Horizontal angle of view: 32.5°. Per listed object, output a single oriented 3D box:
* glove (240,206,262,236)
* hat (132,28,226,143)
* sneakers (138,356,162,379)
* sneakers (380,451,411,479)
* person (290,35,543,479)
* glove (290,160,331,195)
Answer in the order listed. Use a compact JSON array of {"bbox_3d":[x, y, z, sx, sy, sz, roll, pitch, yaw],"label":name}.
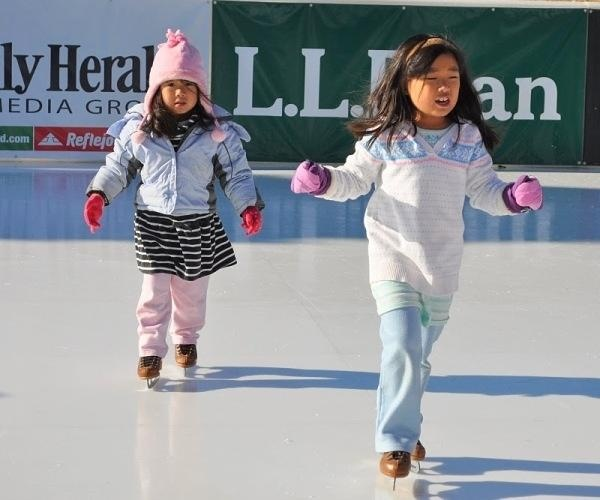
[{"bbox_3d":[-0.208,-0.124,4.294,0.098,0.124,0.048,-7,-7,-6],"label":"glove"},{"bbox_3d":[-0.451,-0.680,4.305,0.343,0.415,0.305,-11,-6,36],"label":"hat"},{"bbox_3d":[-0.621,0.481,4.241,0.095,0.093,0.165,1,4,-8],"label":"sneakers"},{"bbox_3d":[0.326,0.740,3.547,0.067,0.056,0.125,1,6,7],"label":"sneakers"},{"bbox_3d":[0.413,-0.003,3.695,0.746,1.547,0.492,-1,5,-34],"label":"person"},{"bbox_3d":[0.039,-0.272,3.677,0.082,0.075,0.105,19,29,1],"label":"glove"}]
